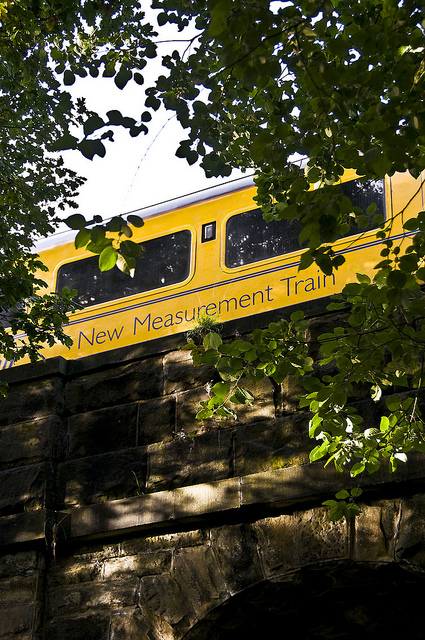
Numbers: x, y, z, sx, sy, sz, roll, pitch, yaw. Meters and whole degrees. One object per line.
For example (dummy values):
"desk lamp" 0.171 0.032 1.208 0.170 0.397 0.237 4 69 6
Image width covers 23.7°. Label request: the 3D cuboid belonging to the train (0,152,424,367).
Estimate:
"train" 0.038 -0.326 6.514 3.388 0.818 0.906 -15 -31 28
